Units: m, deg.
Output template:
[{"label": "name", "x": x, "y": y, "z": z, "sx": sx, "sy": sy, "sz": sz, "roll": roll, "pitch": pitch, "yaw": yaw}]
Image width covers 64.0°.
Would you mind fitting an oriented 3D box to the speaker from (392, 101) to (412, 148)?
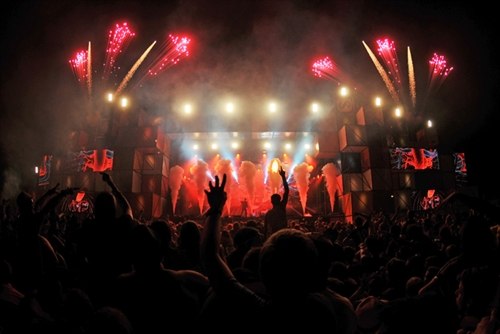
[{"label": "speaker", "x": 12.872, "y": -3.484, "z": 34.162, "sx": 1.849, "sy": 3.642, "sz": 1.115, "roll": 5, "pitch": -5, "yaw": -38}]
